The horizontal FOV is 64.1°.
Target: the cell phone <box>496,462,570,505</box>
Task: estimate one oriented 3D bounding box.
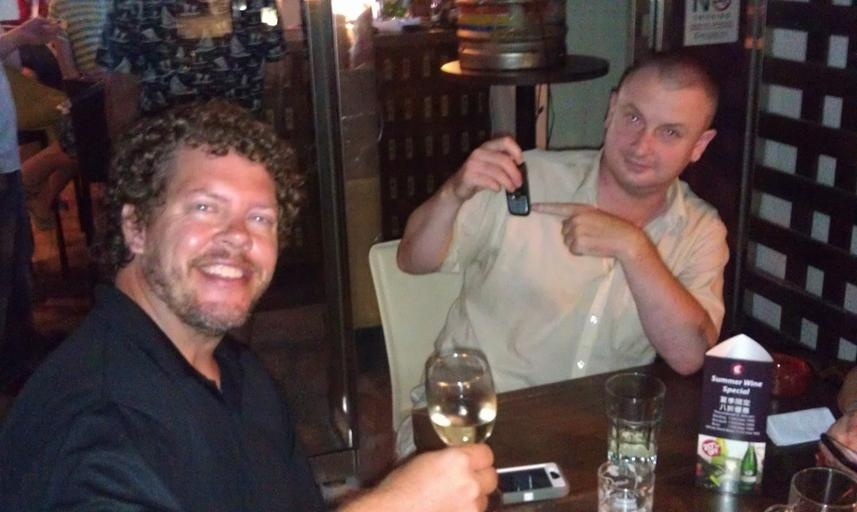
[{"bbox_3d":[0.258,0.570,1.728,0.156,0.029,0.081,-2,29,-6],"label":"cell phone"}]
